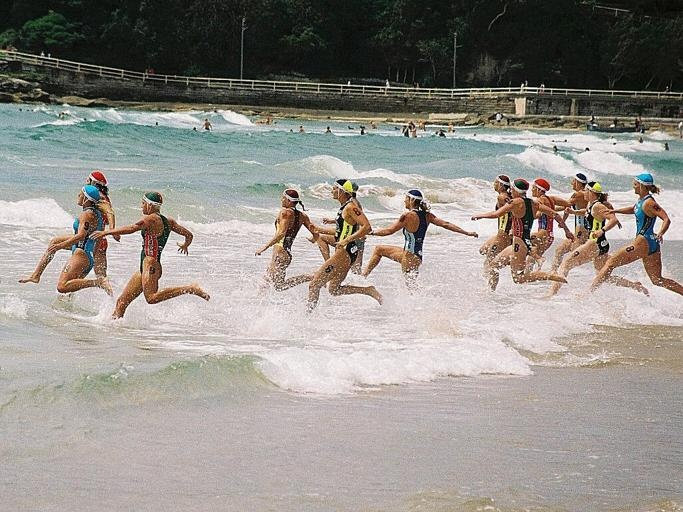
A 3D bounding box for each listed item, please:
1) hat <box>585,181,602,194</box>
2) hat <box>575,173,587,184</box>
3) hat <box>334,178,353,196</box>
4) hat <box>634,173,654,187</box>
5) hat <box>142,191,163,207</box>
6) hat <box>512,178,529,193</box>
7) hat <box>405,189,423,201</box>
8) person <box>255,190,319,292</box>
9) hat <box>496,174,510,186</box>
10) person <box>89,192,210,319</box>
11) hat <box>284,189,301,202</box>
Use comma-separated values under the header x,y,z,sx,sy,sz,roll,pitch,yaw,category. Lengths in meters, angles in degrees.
x,y,z,sx,sy,sz,roll,pitch,yaw,category
4.006,-1.058,12.357,0.170,0.097,0.242,-4,38,-15,hat
3.989,-1.298,12.927,0.190,0.057,0.215,23,21,-21,hat
0.055,-0.956,10.623,0.207,0.251,0.182,-19,2,32,hat
4.494,-1.135,11.526,0.257,0.164,0.231,4,11,11,hat
-2.315,-0.705,9.576,0.208,0.167,0.235,-1,12,-18,hat
2.731,-1.105,11.969,0.217,0.107,0.266,-17,37,-5,hat
1.012,-0.854,10.729,0.146,0.083,0.180,4,14,-32,hat
-0.938,-0.208,13.225,1.099,1.915,1.034,19,39,13,person
2.716,-1.281,13.059,0.212,0.097,0.288,9,22,-20,hat
-2.389,0.019,9.732,1.162,1.653,0.804,-2,11,-18,person
-0.674,-0.828,10.622,0.193,0.179,0.211,7,12,22,hat
